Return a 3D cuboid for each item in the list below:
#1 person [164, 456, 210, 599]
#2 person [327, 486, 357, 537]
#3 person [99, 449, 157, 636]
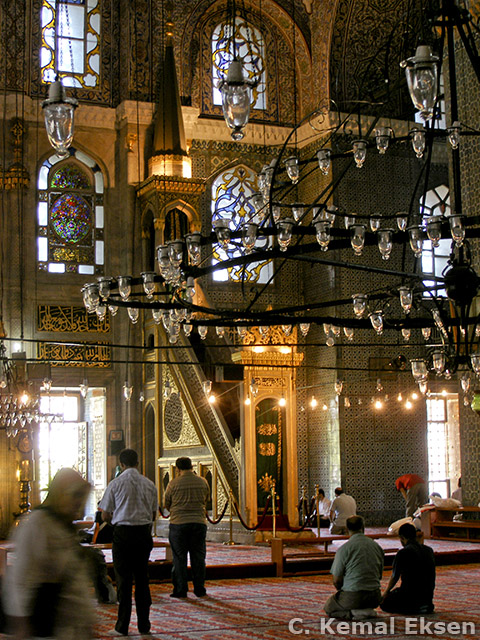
[{"bbox_3d":[-0.421,1.663,8.654,0.375,1.113,0.342,0,-6,-13],"label":"person"},{"bbox_3d":[1.349,2.635,14.511,0.298,0.793,0.412,-2,3,-28],"label":"person"},{"bbox_3d":[-0.687,1.506,7.001,0.372,1.015,0.346,2,-6,-29],"label":"person"}]
